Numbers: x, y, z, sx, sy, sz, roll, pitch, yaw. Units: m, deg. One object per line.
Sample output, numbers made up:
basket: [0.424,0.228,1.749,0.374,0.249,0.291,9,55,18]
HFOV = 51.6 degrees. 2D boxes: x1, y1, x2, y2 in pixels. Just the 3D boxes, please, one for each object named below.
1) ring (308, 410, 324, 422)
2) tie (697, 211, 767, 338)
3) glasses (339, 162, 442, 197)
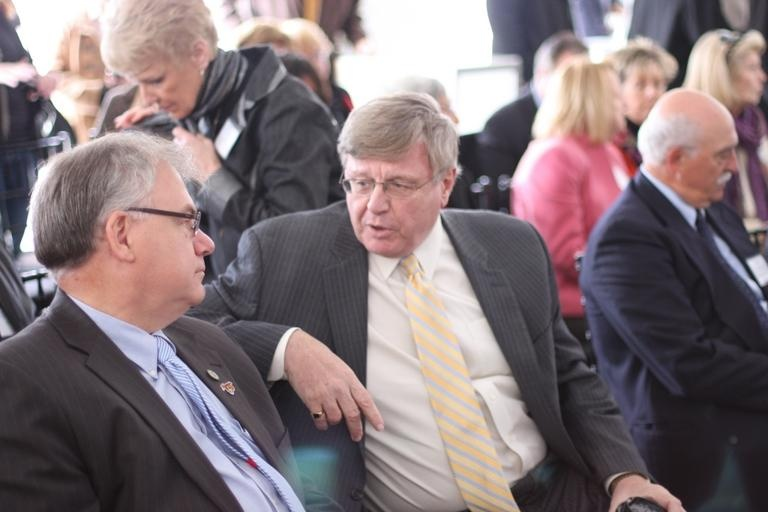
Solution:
ring: [-0.219,0.514,2.559,0.048,0.027,0.057,0,-19,2]
tie: [1.538,0.103,3.539,0.091,0.645,0.094,-8,-31,-31]
glasses: [0.017,-0.245,2.793,0.338,0.086,0.093,-6,13,0]
